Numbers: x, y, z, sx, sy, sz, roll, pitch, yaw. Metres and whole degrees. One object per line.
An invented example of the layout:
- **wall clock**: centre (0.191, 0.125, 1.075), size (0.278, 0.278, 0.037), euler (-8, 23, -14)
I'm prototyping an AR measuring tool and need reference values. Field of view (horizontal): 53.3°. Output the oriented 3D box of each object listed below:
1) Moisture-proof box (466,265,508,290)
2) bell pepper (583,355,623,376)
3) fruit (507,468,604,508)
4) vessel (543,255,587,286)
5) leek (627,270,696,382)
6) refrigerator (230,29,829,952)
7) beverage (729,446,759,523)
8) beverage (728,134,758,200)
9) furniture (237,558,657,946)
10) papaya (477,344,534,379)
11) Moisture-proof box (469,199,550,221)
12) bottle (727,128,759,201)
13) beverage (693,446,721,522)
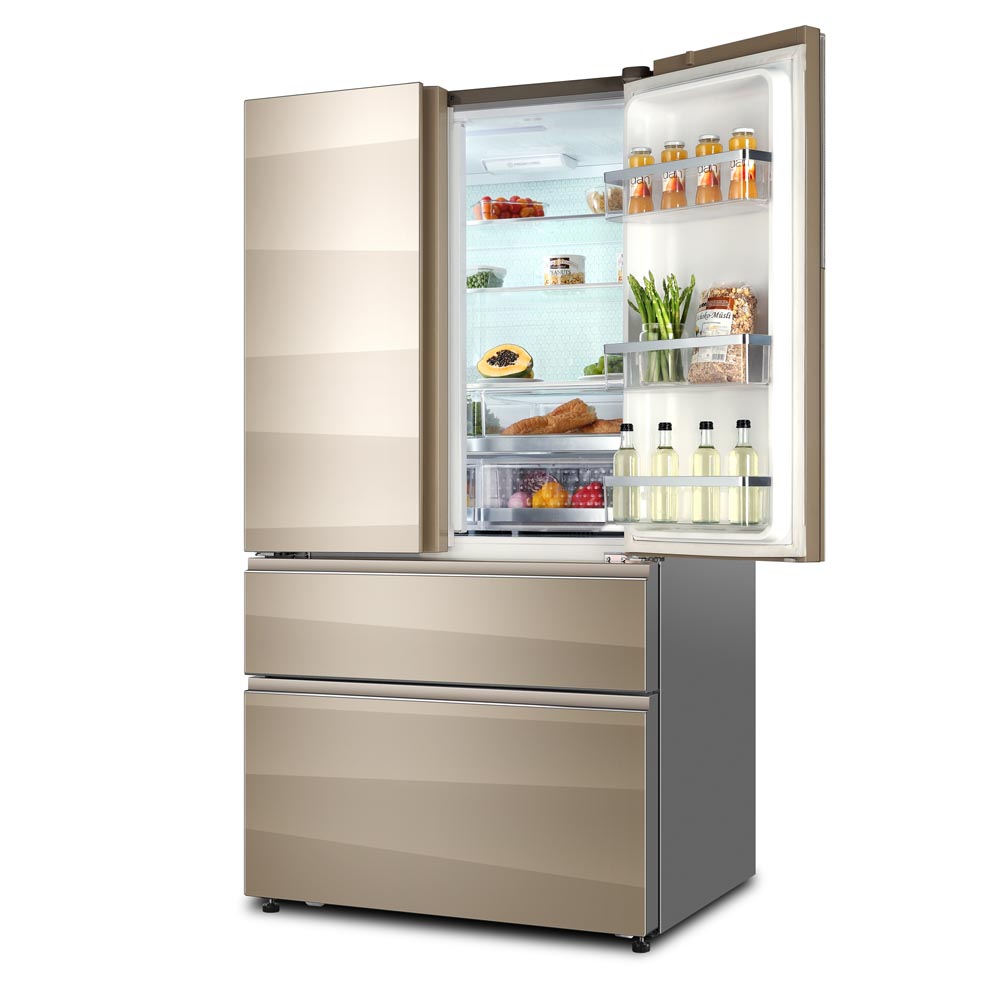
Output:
- **Moisture-proof box**: centre (-0.040, -0.726, 3.293), size (0.145, 0.056, 0.109), euler (0, 3, 27)
- **bell pepper**: centre (0.325, -0.412, 3.124), size (0.092, 0.036, 0.089), euler (0, -4, -35)
- **fruit**: centre (0.181, -0.036, 3.107), size (0.225, 0.139, 0.096), euler (2, -10, 8)
- **vessel**: centre (0.203, -0.714, 3.191), size (0.124, 0.083, 0.121), euler (-1, 1, -38)
- **leek**: centre (0.449, -0.453, 2.707), size (0.117, 0.316, 0.149), euler (-6, 9, -27)
- **refrigerator**: centre (0.227, -0.008, 3.039), size (2.260, 2.375, 1.256), euler (3, 6, 36)
- **beverage**: centre (0.614, -0.035, 2.504), size (0.081, 0.204, 0.149), euler (-2, -6, 13)
- **beverage**: centre (0.612, -0.836, 2.508), size (0.074, 0.212, 0.157), euler (-3, -6, 16)
- **furniture**: centre (-0.079, 0.719, 3.126), size (1.271, 1.044, 0.604), euler (-2, -7, 20)
- **papaya**: centre (0.018, -0.440, 3.187), size (0.139, 0.120, 0.051), euler (7, -19, 16)
- **Moisture-proof box**: centre (0.033, -0.929, 3.214), size (0.149, 0.054, 0.146), euler (-1, 8, -1)
- **bottle**: centre (0.597, -0.834, 2.493), size (0.107, 0.168, 0.103), euler (-1, 21, 0)
- **beverage**: centre (0.533, -0.038, 2.570), size (0.075, 0.202, 0.181), euler (-2, -5, 12)
